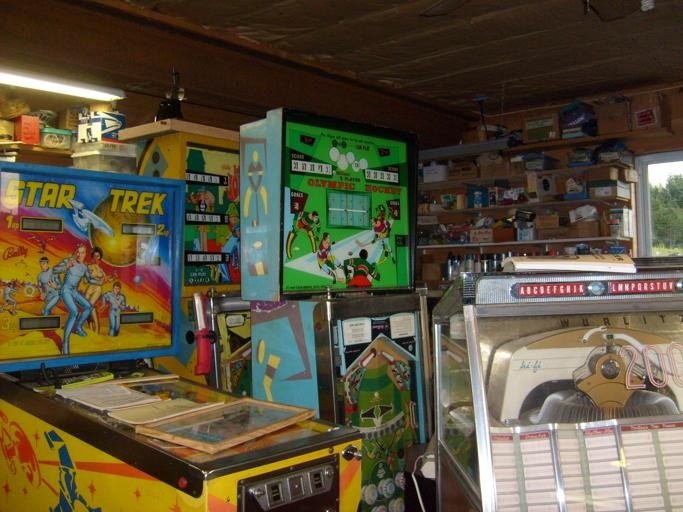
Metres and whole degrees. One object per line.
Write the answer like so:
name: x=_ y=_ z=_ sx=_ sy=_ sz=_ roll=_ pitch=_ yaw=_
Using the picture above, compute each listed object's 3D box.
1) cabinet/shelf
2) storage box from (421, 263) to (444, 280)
cabinet/shelf: x=2.277 y=-0.627 z=5.688 sx=2.795 sy=1.828 sz=0.875 roll=1 pitch=0 yaw=31
storage box: x=1.261 y=0.227 z=7.286 sx=0.293 sy=0.209 sz=0.257 roll=0 pitch=-1 yaw=-6
